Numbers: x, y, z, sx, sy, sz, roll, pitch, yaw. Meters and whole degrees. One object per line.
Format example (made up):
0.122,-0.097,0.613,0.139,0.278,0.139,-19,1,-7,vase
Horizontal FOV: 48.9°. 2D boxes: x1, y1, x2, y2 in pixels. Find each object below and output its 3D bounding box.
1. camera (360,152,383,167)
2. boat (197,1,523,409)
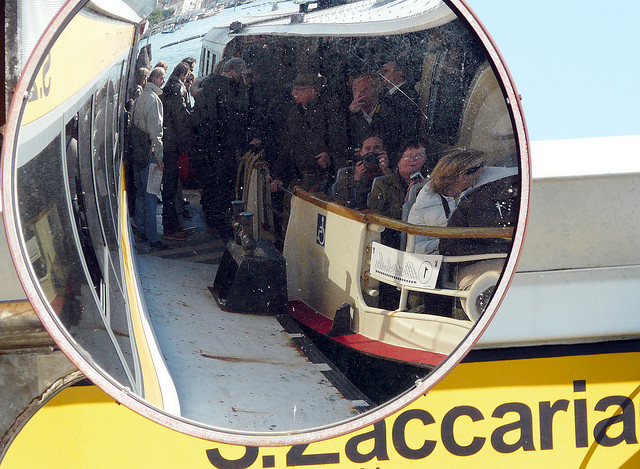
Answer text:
0.166,-0.255,2.393,0.055,0.037,0.022,-1,-5,36,camera
0.063,-0.158,2.029,0.443,0.614,1.591,-2,15,-16,boat
